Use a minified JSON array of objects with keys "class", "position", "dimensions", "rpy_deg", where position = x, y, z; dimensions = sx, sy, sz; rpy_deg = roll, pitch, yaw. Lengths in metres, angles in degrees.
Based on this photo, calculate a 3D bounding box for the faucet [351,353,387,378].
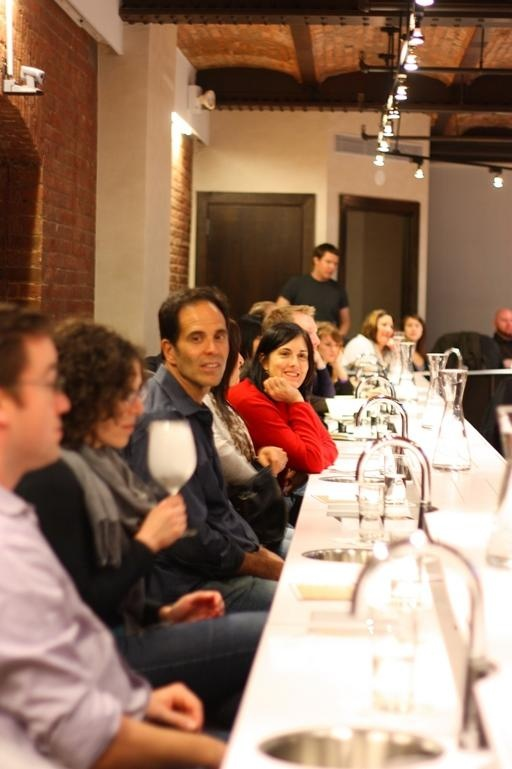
[{"class":"faucet","position":[0.895,-0.154,4.906],"dimensions":[0.184,0.140,0.174],"rpy_deg":[28,40,21]}]

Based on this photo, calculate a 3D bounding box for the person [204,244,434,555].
[{"class":"person","position":[0.194,0.044,3.095],"dimensions":[0.994,1.791,0.779],"rpy_deg":[-8,-7,18]}]
